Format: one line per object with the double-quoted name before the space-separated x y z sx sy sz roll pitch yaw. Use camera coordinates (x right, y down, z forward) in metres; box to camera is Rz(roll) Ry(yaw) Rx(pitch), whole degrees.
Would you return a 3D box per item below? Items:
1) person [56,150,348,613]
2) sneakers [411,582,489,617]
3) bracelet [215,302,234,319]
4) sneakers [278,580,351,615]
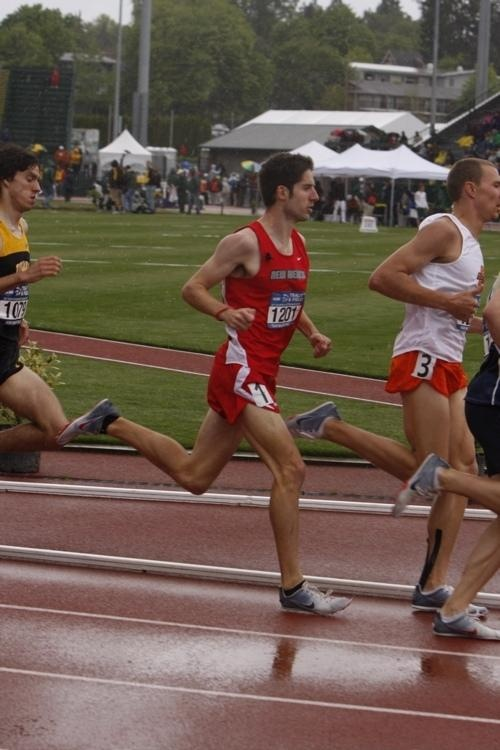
"person" -0.040 0.010 3.152 1.019 1.923 0.657 2 0 15
"sneakers" 0.840 0.956 3.105 0.376 0.134 0.121 3 5 -2
"bracelet" -0.104 -0.254 2.896 0.067 0.017 0.052 -36 26 -23
"sneakers" 0.250 0.923 3.063 0.363 0.137 0.121 2 7 2
